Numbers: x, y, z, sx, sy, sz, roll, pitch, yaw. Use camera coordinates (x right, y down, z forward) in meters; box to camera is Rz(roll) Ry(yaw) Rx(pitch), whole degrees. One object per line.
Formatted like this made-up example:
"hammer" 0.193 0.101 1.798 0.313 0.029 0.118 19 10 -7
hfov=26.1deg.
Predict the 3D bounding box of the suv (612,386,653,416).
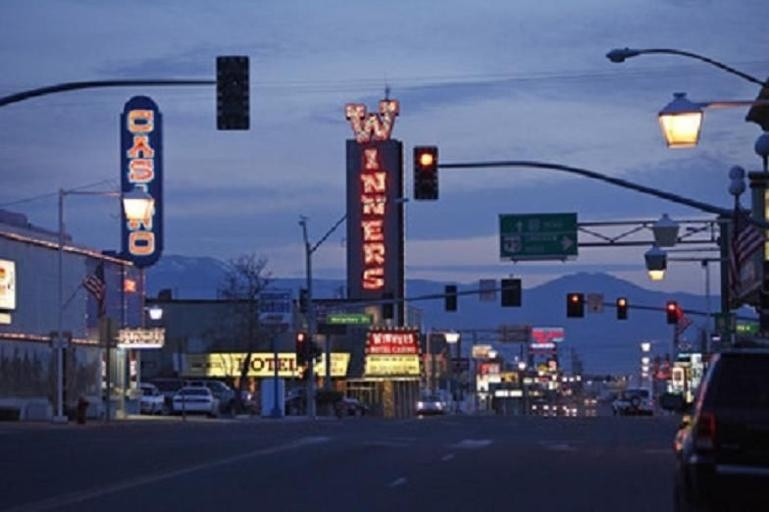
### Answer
"suv" 15.817 9.290 104.976 1.680 1.284 2.816 0 -2 5

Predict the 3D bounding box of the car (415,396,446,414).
"car" 3.057 10.120 110.661 1.709 1.320 3.016 -2 -7 -3
